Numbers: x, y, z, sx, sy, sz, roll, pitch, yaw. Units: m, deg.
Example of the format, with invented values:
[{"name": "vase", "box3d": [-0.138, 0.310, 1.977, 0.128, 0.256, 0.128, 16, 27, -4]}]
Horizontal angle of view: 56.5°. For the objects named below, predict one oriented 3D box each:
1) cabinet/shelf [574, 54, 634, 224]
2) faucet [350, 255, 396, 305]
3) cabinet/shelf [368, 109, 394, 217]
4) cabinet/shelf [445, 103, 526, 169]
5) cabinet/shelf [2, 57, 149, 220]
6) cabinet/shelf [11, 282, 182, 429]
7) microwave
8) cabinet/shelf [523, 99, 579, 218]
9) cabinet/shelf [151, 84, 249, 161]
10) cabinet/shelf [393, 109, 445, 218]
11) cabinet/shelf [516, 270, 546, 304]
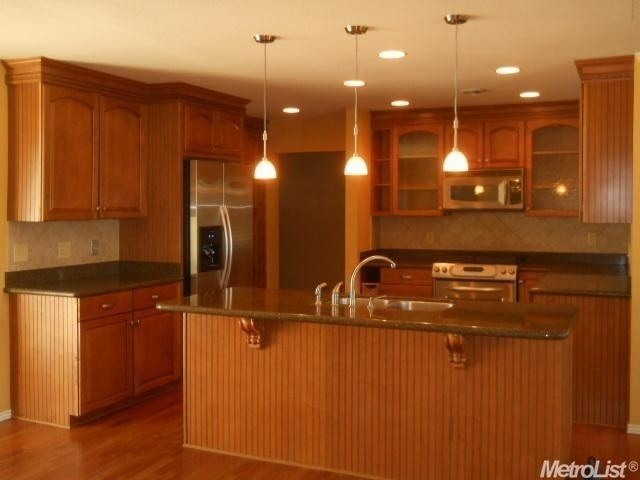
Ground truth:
[{"name": "cabinet/shelf", "box3d": [2.210, -0.768, 4.623, 0.416, 1.259, 0.141, 2, 6, 27]}, {"name": "faucet", "box3d": [0.356, 0.305, 4.155, 0.348, 0.468, 0.104, -5, 35, -2]}, {"name": "cabinet/shelf", "box3d": [0.718, -0.822, 6.895, 0.238, 1.027, 0.229, 0, 5, 4]}, {"name": "cabinet/shelf", "box3d": [1.781, -1.097, 6.218, 0.950, 0.838, 0.371, 1, 2, 23]}, {"name": "cabinet/shelf", "box3d": [-2.052, -0.849, 4.880, 0.480, 1.197, 1.241, 0, 1, 26]}, {"name": "cabinet/shelf", "box3d": [-1.940, 0.928, 5.300, 0.741, 1.025, 1.383, 0, -1, 23]}, {"name": "microwave", "box3d": [1.778, -0.554, 6.468, 0.829, 0.423, 0.179, 1, 5, 9]}, {"name": "cabinet/shelf", "box3d": [2.514, -0.809, 6.323, 0.586, 1.170, 0.157, 5, 12, 40]}, {"name": "cabinet/shelf", "box3d": [-1.142, -1.105, 5.837, 0.350, 0.641, 1.254, 3, 7, 25]}, {"name": "cabinet/shelf", "box3d": [1.116, -0.750, 6.668, 0.562, 1.008, 0.306, 1, 5, 17]}, {"name": "cabinet/shelf", "box3d": [2.187, 0.542, 6.276, 0.232, 0.343, 0.232, 10, 14, 29]}]
